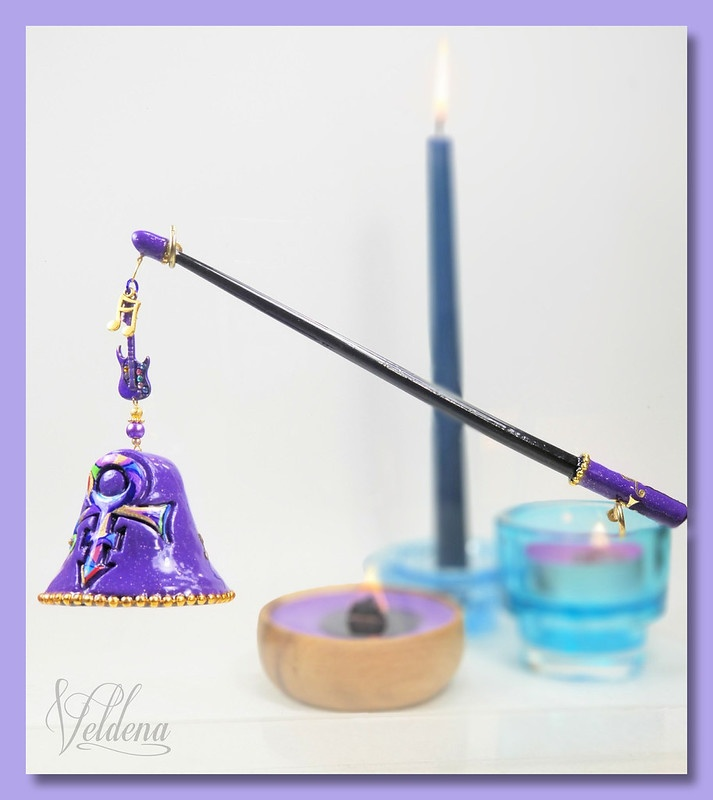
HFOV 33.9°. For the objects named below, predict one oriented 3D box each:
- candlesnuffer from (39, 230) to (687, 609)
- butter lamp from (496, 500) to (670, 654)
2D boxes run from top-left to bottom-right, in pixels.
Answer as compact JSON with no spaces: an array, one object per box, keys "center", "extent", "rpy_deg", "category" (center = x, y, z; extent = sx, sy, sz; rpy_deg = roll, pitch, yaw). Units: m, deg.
[{"center":[0.021,0.031,0.971],"extent":[0.536,0.306,0.165],"rpy_deg":[5,-10,-3],"category":"candlesnuffer"},{"center":[0.209,0.177,1.091],"extent":[0.161,0.137,0.173],"rpy_deg":[0,-7,-11],"category":"butter lamp"}]
